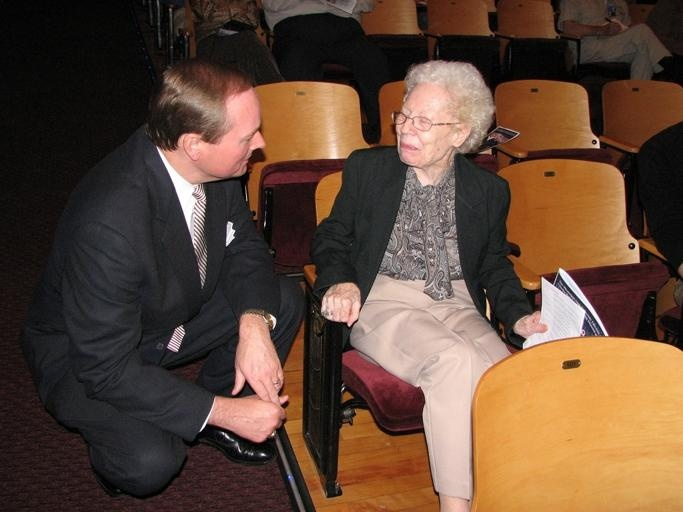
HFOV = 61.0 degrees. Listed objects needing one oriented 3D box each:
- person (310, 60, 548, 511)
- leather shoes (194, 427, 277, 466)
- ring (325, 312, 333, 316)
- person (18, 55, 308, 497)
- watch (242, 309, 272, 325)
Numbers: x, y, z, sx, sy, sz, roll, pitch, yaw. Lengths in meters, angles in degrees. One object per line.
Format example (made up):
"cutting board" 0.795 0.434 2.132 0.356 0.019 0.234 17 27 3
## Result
"person" 0.303 0.050 2.039 0.797 1.333 0.884 -4 21 -4
"leather shoes" -0.391 0.741 2.309 0.365 0.151 0.126 7 19 -1
"ring" -0.042 0.199 1.974 0.021 0.013 0.009 12 20 26
"person" -0.632 0.086 1.913 0.894 1.337 0.660 -10 22 -17
"watch" -0.294 0.237 2.059 0.067 0.026 0.070 17 -15 26
